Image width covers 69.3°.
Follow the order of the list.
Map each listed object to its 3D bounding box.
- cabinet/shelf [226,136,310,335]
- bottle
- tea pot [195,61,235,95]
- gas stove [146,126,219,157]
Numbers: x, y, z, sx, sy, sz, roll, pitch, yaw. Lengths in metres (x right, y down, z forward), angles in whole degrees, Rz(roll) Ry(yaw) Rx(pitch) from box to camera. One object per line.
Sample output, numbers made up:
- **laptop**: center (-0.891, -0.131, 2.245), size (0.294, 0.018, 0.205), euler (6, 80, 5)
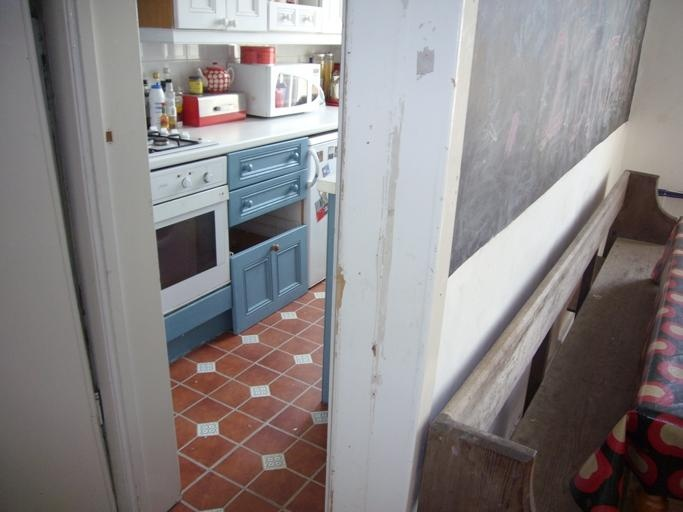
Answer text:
- **cabinet/shelf**: center (-0.598, -0.184, 3.064), size (0.636, 1.031, 0.590), euler (22, 32, 36)
- **bottle**: center (-1.024, -0.879, 2.790), size (0.159, 0.278, 0.390), euler (-9, 27, -20)
- **tea pot**: center (-0.796, -1.149, 3.215), size (0.254, 0.184, 0.169), euler (-19, 37, -35)
- **gas stove**: center (-0.857, -0.590, 2.525), size (0.307, 0.043, 0.301), euler (-16, 31, -33)
